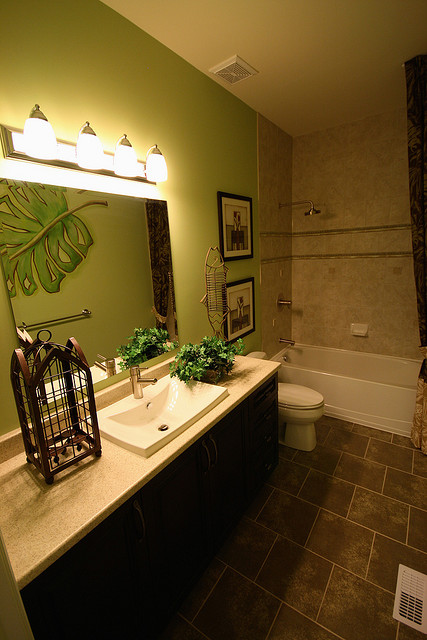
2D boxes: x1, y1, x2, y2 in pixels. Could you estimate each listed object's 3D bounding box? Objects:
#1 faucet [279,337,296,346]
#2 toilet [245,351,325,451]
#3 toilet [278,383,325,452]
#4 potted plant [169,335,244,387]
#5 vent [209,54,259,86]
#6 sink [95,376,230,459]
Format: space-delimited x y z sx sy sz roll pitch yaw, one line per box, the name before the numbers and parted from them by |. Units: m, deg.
faucet | 0.672 0.188 3.703 0.142 0.088 0.070 10 -9 31
toilet | 0.538 0.553 2.881 0.483 0.604 0.302 9 23 42
toilet | 0.609 0.683 2.872 0.358 0.364 0.332 2 13 24
potted plant | -0.047 0.203 2.078 0.239 0.179 0.289 -1 12 21
vent | 0.113 -1.355 2.253 0.203 0.043 0.294 6 17 33
sink | -0.235 0.398 1.755 0.242 0.086 0.391 11 21 25
